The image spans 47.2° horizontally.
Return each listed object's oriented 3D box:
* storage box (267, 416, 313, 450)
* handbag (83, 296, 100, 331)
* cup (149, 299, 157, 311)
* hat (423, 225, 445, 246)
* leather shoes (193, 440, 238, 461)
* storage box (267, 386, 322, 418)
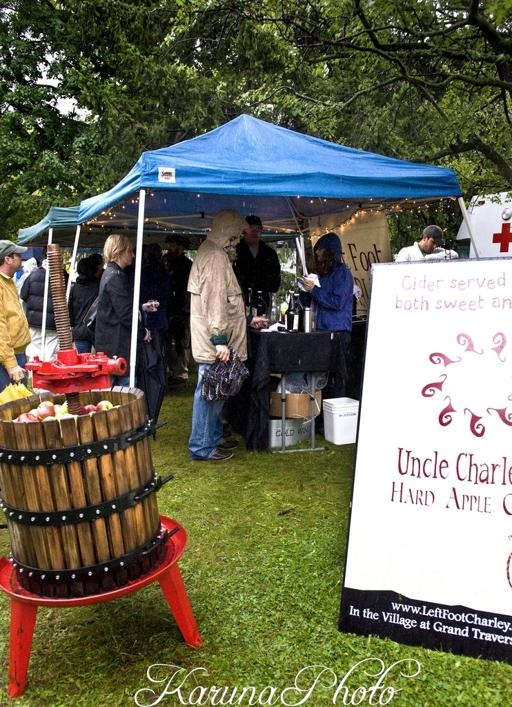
[{"bbox_3d":[0.278,0.669,4.873,0.418,0.275,0.235,0,-2,-42],"label":"storage box"},{"bbox_3d":[-1.443,-0.334,5.120,0.098,0.305,0.242,22,-3,-17],"label":"handbag"},{"bbox_3d":[-0.909,-0.415,5.092,0.088,0.093,0.092,5,5,0],"label":"cup"},{"bbox_3d":[1.727,-1.160,5.727,0.221,0.122,0.157,25,15,-6],"label":"hat"},{"bbox_3d":[-0.294,0.785,4.626,0.340,0.125,0.120,-15,27,-24],"label":"leather shoes"},{"bbox_3d":[0.296,0.405,4.742,0.284,0.165,0.279,0,-2,-32],"label":"storage box"}]
